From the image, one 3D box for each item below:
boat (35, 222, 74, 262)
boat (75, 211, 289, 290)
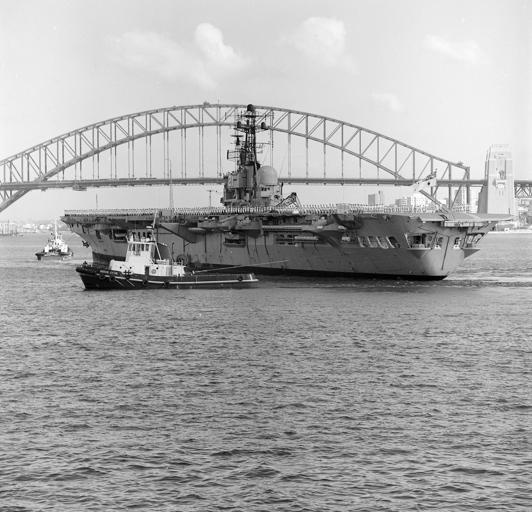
[{"bbox_3d":[-14.939,-0.110,78.121,2.796,2.731,7.612,0,-13,-10],"label":"boat"},{"bbox_3d":[-3.493,0.051,44.844,9.356,3.431,2.884,3,-1,-8],"label":"boat"}]
